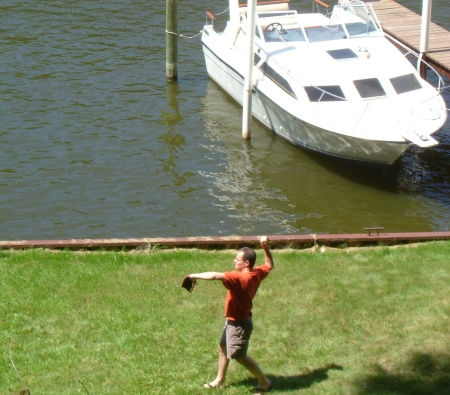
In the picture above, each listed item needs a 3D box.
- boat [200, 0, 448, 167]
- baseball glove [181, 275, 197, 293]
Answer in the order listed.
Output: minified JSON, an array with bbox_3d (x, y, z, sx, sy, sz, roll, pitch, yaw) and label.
[{"bbox_3d":[2.584,-2.562,24.495,3.556,2.691,6.718,-16,43,-26],"label":"boat"},{"bbox_3d":[-0.584,1.331,14.843,0.228,0.250,0.074,28,15,-21],"label":"baseball glove"}]
